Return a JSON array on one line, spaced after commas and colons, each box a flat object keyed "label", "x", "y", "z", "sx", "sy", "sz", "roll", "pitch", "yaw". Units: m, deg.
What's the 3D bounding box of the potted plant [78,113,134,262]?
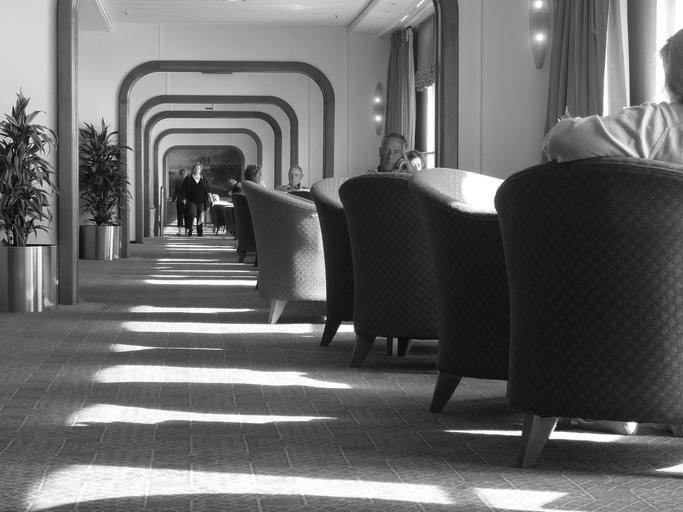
[{"label": "potted plant", "x": -4.736, "y": -1.375, "z": 10.889, "sx": 0.933, "sy": 2.721, "sz": 1.329, "roll": -2, "pitch": 7, "yaw": -24}]
